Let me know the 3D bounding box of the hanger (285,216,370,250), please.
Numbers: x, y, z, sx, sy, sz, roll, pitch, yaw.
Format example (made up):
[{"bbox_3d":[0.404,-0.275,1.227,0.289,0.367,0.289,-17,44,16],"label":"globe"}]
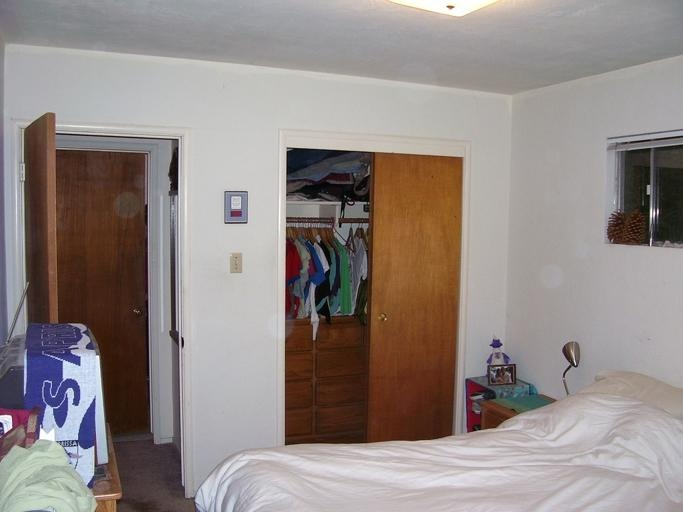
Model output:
[{"bbox_3d":[-0.109,-0.214,4.746,0.738,0.218,0.290,-1,14,-11],"label":"hanger"}]
